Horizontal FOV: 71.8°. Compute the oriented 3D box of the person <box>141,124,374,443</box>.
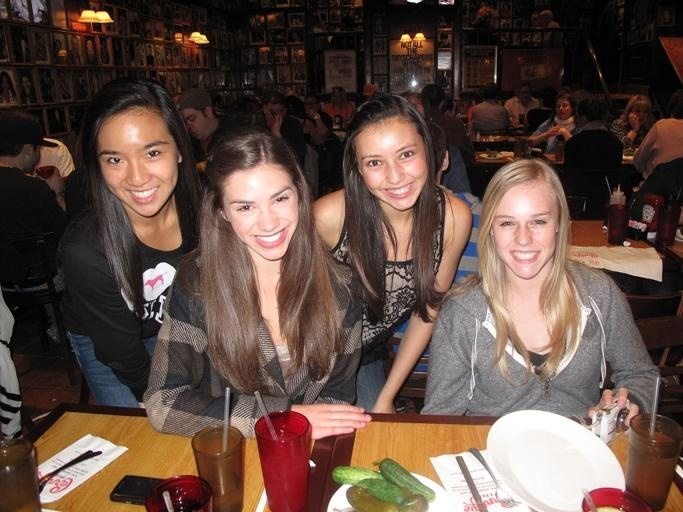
[{"bbox_3d":[-0.296,0.069,1.580,0.775,0.975,0.442,-9,15,-25],"label":"person"}]

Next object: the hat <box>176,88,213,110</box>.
[{"bbox_3d":[-1.307,-1.391,4.205,0.205,0.144,0.274,6,36,14],"label":"hat"}]

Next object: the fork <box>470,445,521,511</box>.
[{"bbox_3d":[0.381,0.567,1.186,0.036,0.031,0.207,-21,23,-2],"label":"fork"}]

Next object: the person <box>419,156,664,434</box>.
[{"bbox_3d":[0.690,0.133,1.670,0.787,0.920,0.330,0,14,13],"label":"person"}]
